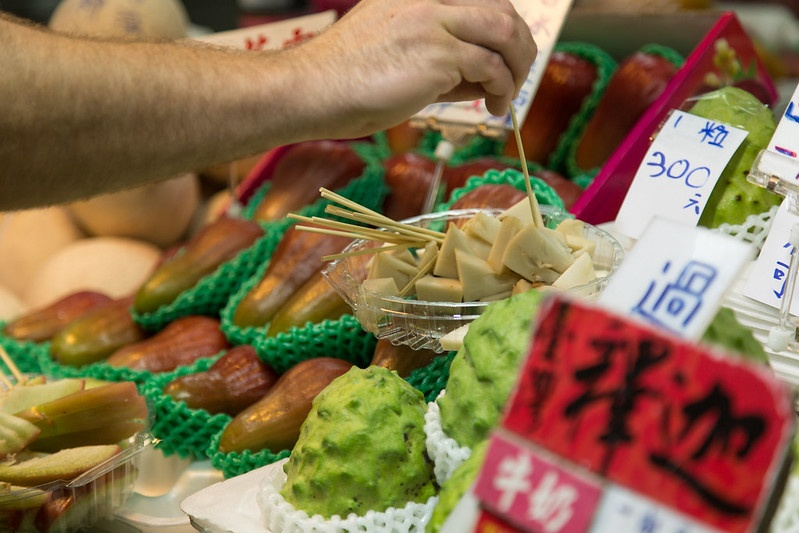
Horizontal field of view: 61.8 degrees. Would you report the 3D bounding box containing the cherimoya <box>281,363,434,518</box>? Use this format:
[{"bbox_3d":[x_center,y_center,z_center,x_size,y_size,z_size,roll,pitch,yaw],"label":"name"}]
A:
[{"bbox_3d":[-0.055,0.264,1.060,0.175,0.189,0.229,25,66,-9],"label":"cherimoya"}]

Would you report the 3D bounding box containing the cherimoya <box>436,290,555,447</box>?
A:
[{"bbox_3d":[0.152,0.152,0.968,0.137,0.224,0.133,26,-5,-40],"label":"cherimoya"}]

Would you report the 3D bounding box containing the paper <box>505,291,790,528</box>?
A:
[{"bbox_3d":[0.232,0.143,0.633,0.206,0.138,0.011,28,17,10],"label":"paper"}]

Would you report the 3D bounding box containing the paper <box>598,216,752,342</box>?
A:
[{"bbox_3d":[0.257,0.012,0.637,0.104,0.118,0.024,22,36,-6],"label":"paper"}]
